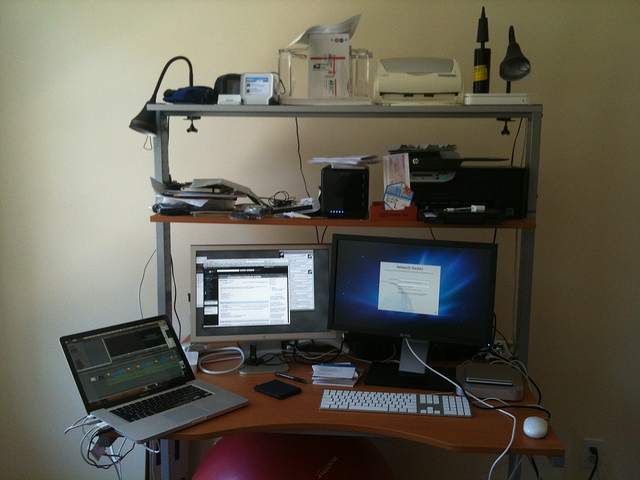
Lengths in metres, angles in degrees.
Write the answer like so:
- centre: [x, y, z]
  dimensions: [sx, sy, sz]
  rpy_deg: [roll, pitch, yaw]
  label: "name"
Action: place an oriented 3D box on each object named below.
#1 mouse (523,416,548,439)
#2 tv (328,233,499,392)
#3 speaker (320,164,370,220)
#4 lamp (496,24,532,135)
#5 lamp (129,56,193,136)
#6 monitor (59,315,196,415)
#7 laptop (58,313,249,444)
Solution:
- centre: [0.874, 0.768, 2.433]
  dimensions: [0.078, 0.072, 0.081]
  rpy_deg: [1, 2, 13]
  label: "mouse"
- centre: [0.430, 0.345, 2.775]
  dimensions: [0.626, 0.575, 0.248]
  rpy_deg: [2, 5, 13]
  label: "tv"
- centre: [0.123, -0.192, 2.930]
  dimensions: [0.270, 0.251, 0.284]
  rpy_deg: [5, -13, -10]
  label: "speaker"
- centre: [0.954, -0.794, 2.943]
  dimensions: [0.142, 0.555, 0.450]
  rpy_deg: [3, 13, 18]
  label: "lamp"
- centre: [-0.757, -0.718, 2.936]
  dimensions: [0.249, 0.391, 0.402]
  rpy_deg: [-1, 12, -1]
  label: "lamp"
- centre: [-0.857, 0.545, 2.657]
  dimensions: [0.538, 0.355, 0.421]
  rpy_deg: [-17, -5, -35]
  label: "monitor"
- centre: [-0.779, 0.608, 2.624]
  dimensions: [0.554, 0.317, 0.709]
  rpy_deg: [-17, 19, -39]
  label: "laptop"
